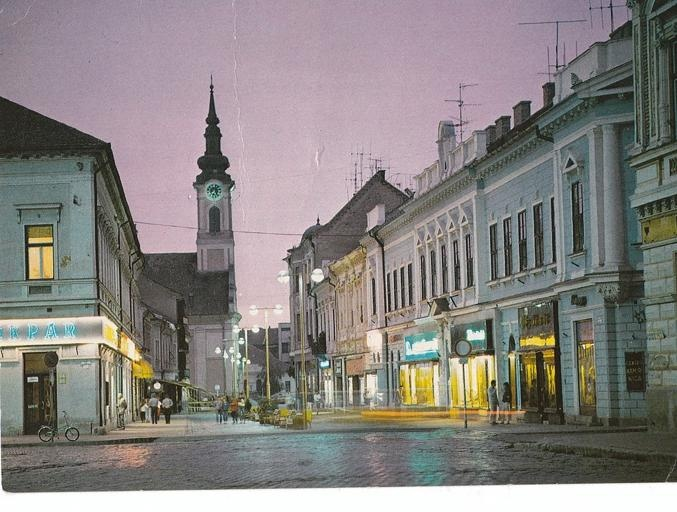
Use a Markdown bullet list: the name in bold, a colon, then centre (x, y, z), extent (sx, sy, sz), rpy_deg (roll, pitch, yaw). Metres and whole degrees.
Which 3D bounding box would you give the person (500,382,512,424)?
- **person**: centre (6.543, 5.709, 35.623), extent (0.410, 1.634, 1.465), rpy_deg (-5, -15, 9)

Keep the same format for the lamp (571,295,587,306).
- **lamp**: centre (8.369, 1.536, 31.743), extent (0.253, 0.361, 0.358), rpy_deg (7, -7, -38)

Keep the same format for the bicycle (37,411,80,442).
- **bicycle**: centre (-11.004, 6.680, 35.768), extent (1.698, 1.183, 1.033), rpy_deg (-3, -4, -2)
